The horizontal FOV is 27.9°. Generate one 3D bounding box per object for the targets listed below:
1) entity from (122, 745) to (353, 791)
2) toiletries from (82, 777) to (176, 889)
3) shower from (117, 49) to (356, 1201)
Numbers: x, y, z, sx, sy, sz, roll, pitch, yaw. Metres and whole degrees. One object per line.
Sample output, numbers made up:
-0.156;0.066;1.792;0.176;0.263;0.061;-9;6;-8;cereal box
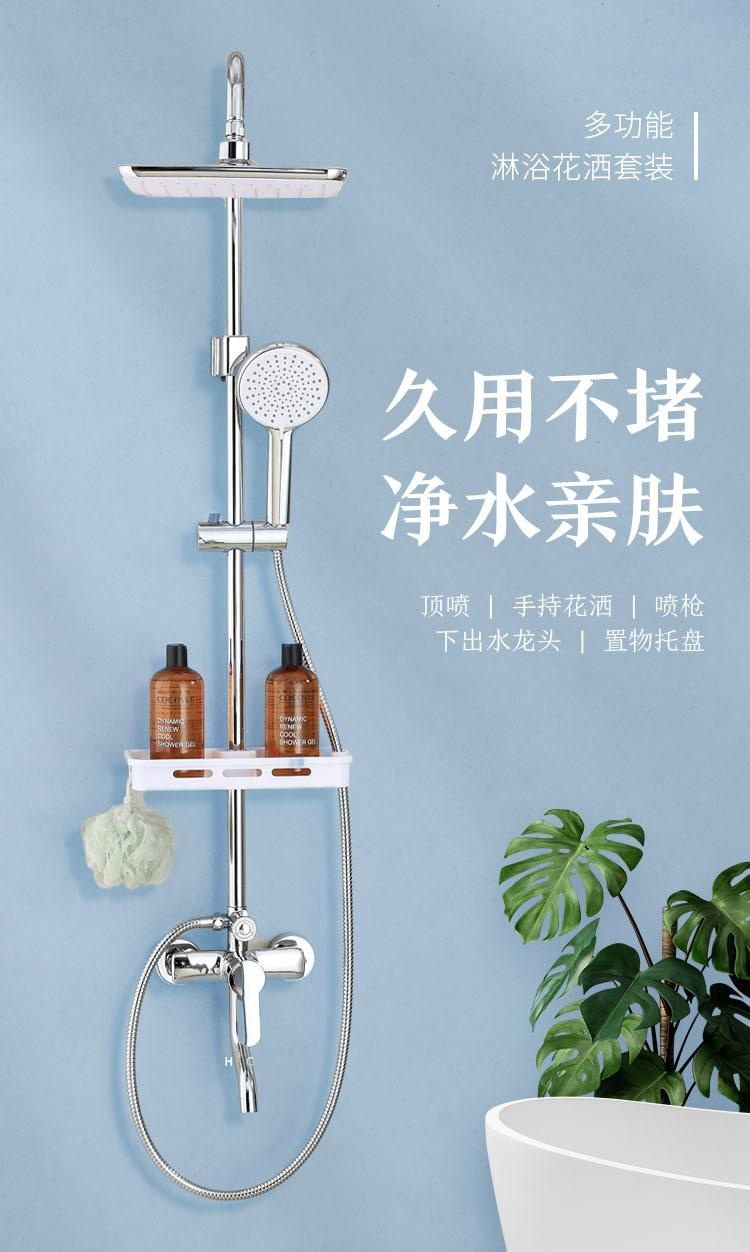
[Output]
-0.178;0.190;1.998;0.289;0.043;0.069;0;-2;2;entity
-0.331;0.281;2.059;0.128;0.136;0.096;0;-2;-15;toiletries
-0.185;0.007;2.058;0.315;1.585;0.210;0;-2;-2;shower
